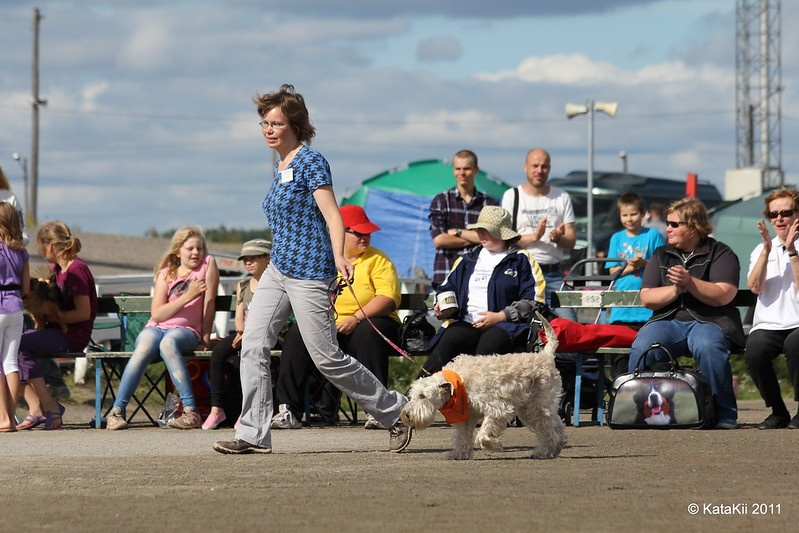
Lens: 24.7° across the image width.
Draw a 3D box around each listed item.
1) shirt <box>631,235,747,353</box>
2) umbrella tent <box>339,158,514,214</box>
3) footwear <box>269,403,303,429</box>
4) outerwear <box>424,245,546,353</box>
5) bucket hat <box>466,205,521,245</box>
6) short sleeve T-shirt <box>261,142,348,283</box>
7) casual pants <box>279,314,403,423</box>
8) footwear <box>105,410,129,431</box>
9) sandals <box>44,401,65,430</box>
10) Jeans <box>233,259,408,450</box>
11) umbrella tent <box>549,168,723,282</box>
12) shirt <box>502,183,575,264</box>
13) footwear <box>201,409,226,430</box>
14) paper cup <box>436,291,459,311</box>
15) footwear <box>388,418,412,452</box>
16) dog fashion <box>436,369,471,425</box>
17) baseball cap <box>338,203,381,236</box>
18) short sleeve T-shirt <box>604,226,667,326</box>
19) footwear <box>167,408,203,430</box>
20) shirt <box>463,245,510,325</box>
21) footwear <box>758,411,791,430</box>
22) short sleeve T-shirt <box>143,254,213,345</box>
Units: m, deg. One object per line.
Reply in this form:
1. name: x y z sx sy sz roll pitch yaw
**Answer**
1. shirt: 3.282 0.264 20.614 1.070 1.172 0.760 -2 -1 18
2. umbrella tent: 0.522 -1.635 34.423 2.438 0.824 2.354 -1 -4 5
3. footwear: -1.316 1.739 20.956 0.443 0.253 0.165 4 -7 -24
4. outerwear: 1.047 0.225 20.642 1.392 1.144 0.761 1 -11 24
5. bucket hat: 1.074 -0.477 20.584 0.453 0.246 0.426 -1 9 -10
6. short sleeve T-shirt: -0.991 -0.475 18.619 0.788 1.442 1.286 9 -12 -38
7. casual pants: -0.774 1.072 20.952 1.179 0.975 2.080 -1 4 -9
8. footwear: -3.283 1.745 21.043 0.230 0.255 0.277 0 -2 -11
9. sandals: -4.075 1.735 21.354 0.201 0.301 0.513 0 -2 -10
10. Jeans: -0.929 0.649 19.208 2.184 2.525 0.668 -1 -10 -16
11. umbrella tent: 4.342 -0.837 35.464 2.475 2.065 4.363 0 0 40
12. shirt: 1.631 -0.503 21.763 0.977 1.003 0.572 -2 -7 -4
13. footwear: -2.182 1.755 21.045 0.129 0.128 0.347 2 13 27
14. paper cup: 0.520 0.376 20.401 0.235 0.220 0.206 0 -2 -6
15. footwear: -0.029 1.795 19.200 0.210 0.436 0.161 30 -31 -23
16. dog fashion: 0.547 1.306 18.532 0.371 0.470 0.248 -18 -6 -14
17. baseball cap: -0.475 -0.544 20.897 0.429 0.173 0.296 17 19 25
18. short sleeve T-shirt: 2.907 0.132 22.912 0.773 1.268 0.435 -2 19 -5
19. footwear: -2.531 1.740 21.091 0.393 0.254 0.302 0 -2 8
20. shirt: 0.895 0.214 20.516 0.293 0.767 0.569 15 -4 -36
21. footwear: 4.153 1.721 20.321 0.397 0.148 0.141 2 -8 -13
22. short sleeve T-shirt: -2.598 0.322 21.484 0.789 0.870 0.516 1 12 2
